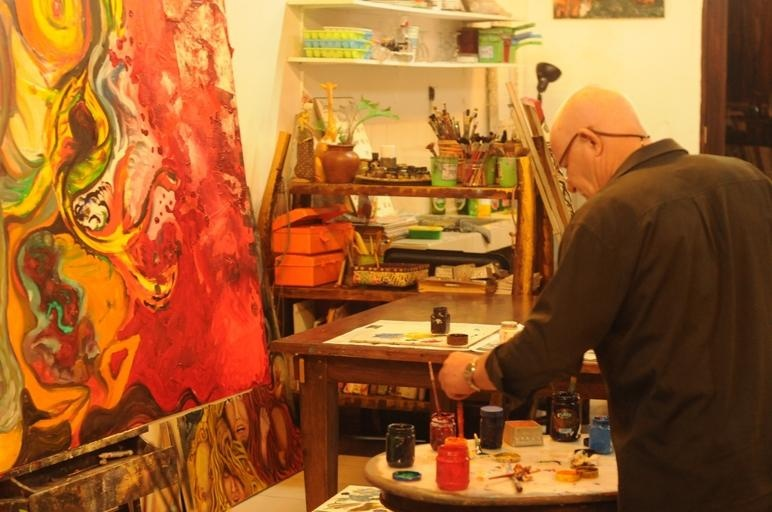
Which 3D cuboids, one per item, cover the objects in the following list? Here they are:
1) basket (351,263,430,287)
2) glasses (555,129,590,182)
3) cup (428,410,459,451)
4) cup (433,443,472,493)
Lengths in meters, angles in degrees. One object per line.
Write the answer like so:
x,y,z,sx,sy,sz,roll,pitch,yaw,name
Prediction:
0.031,0.158,5.038,0.586,0.173,0.240,-2,7,-4,basket
0.615,-0.336,2.174,0.066,0.148,0.119,11,17,27,glasses
0.244,0.735,2.783,0.133,0.187,0.139,1,-2,0,cup
0.230,0.739,2.326,0.145,0.147,0.143,0,-1,0,cup
